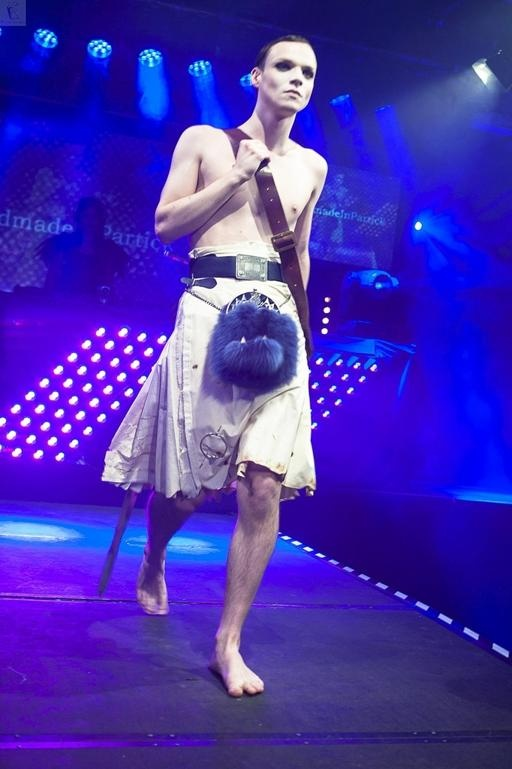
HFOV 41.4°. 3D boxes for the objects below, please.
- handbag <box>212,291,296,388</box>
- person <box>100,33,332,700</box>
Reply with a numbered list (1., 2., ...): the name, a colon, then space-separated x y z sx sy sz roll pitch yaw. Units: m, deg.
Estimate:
1. handbag: -0.003 -0.095 1.677 0.206 0.114 0.223 1 65 -6
2. person: -0.023 -0.161 1.855 0.481 1.466 0.717 12 -5 -43
